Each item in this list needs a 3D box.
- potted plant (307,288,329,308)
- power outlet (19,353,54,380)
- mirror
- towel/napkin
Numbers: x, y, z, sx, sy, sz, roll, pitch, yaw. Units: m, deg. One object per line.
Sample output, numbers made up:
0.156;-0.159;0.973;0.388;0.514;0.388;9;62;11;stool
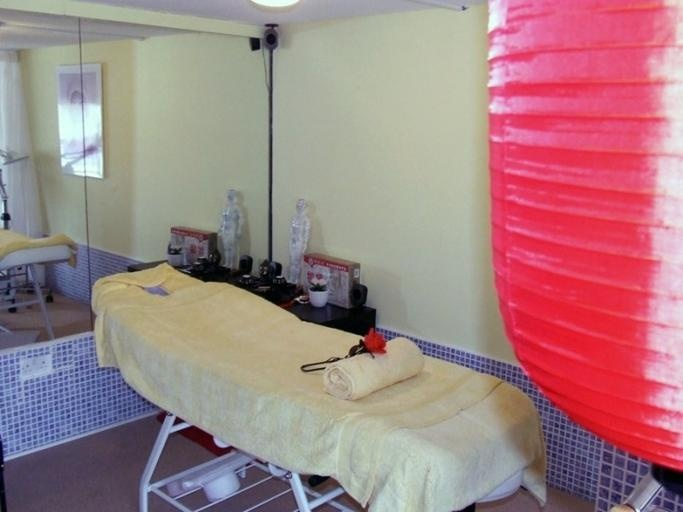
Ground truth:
-0.153;0.279;3.572;0.124;0.092;0.102;-1;1;40;potted plant
-1.705;0.607;2.977;0.036;0.154;0.153;6;9;41;power outlet
-1.232;-0.468;3.109;1.714;1.854;0.920;7;12;37;mirror
0.142;0.463;2.225;0.446;0.161;0.152;-8;17;-38;towel/napkin
